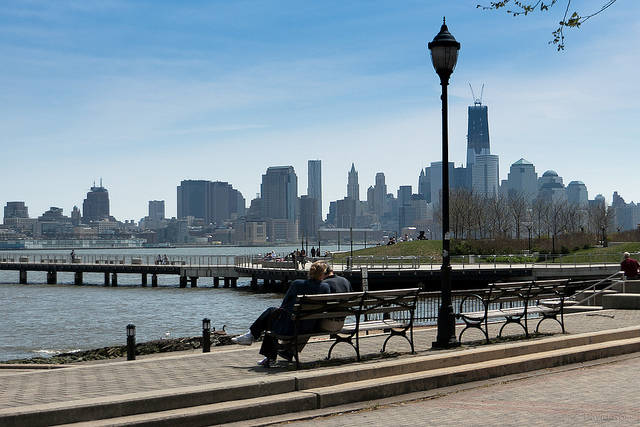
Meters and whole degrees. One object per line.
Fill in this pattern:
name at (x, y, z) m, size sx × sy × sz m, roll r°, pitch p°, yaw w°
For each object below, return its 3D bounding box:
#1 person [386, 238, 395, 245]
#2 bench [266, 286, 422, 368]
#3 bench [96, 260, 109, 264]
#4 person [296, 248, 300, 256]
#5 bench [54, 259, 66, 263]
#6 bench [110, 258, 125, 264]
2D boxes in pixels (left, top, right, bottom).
person at (8.137, 3.103, 131.196) m, size 0.676 × 0.791 × 1.229 m, roll -2°, pitch 4°, yaw -2°
bench at (1.151, 4.481, 47.400) m, size 6.549 × 2.519 × 2.358 m, roll -1°, pitch -6°, yaw -40°
bench at (-21.429, 4.649, 113.956) m, size 1.110 × 0.219 × 0.706 m, roll 0°, pitch -5°, yaw 1°
person at (-2.015, 3.668, 110.272) m, size 0.458 × 1.024 × 0.312 m, roll -6°, pitch 41°, yaw -9°
bench at (-25.602, 4.565, 114.045) m, size 1.086 × 0.298 × 4.295 m, roll -3°, pitch 0°, yaw -13°
bench at (-20.197, 4.655, 115.028) m, size 1.339 × 0.484 × 9.724 m, roll -3°, pitch 0°, yaw -11°
